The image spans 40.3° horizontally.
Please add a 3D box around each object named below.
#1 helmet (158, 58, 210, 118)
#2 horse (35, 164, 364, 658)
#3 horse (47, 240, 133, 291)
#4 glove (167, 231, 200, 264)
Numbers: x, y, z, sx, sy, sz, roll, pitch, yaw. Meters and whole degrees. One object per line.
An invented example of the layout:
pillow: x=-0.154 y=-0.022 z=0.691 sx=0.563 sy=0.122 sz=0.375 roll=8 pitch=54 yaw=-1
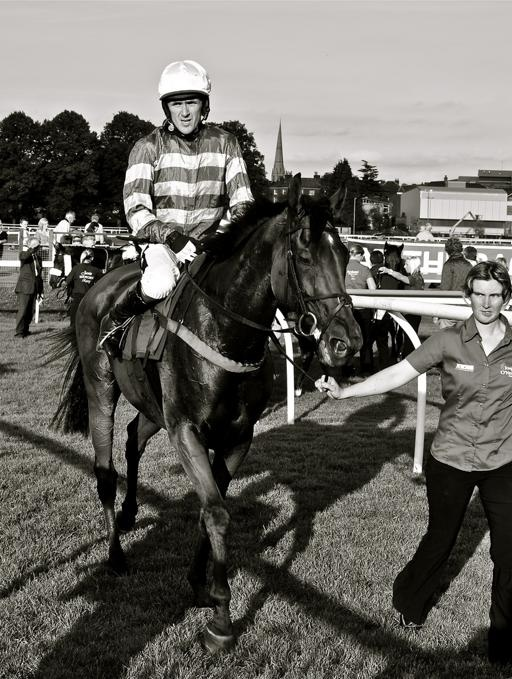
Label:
helmet: x=-0.308 y=-1.085 z=3.053 sx=0.210 sy=0.253 sz=0.168 roll=1 pitch=3 yaw=-10
horse: x=-0.471 y=0.202 z=3.085 sx=0.467 sy=1.743 sz=2.234 roll=1 pitch=6 yaw=-40
horse: x=-3.301 y=-1.373 z=12.848 sx=1.323 sy=0.593 sz=1.505 roll=-2 pitch=7 yaw=7
glove: x=-0.286 y=-0.376 z=2.840 sx=0.038 sy=0.108 sz=0.141 roll=2 pitch=38 yaw=-46
